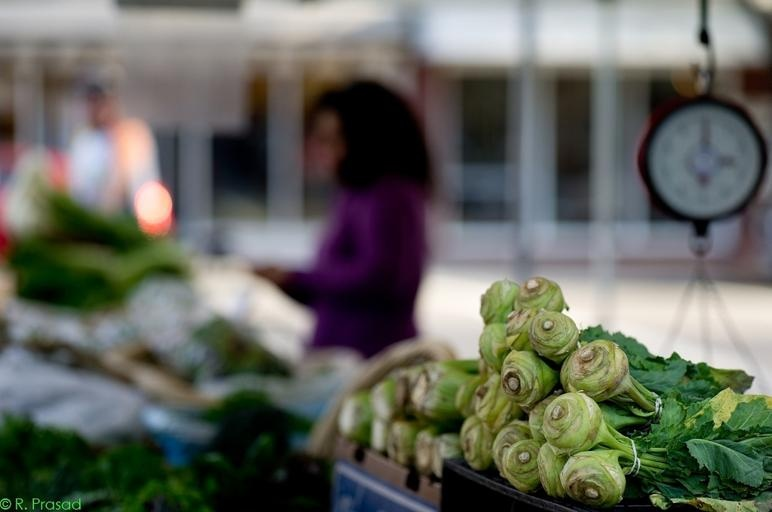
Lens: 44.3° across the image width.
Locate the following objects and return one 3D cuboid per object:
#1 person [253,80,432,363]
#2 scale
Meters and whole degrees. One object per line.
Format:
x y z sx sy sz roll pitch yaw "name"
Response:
-0.107 -0.110 2.903 0.499 0.822 0.159 -7 14 -27 "person"
0.964 -0.194 2.909 0.364 1.132 0.340 5 14 20 "scale"
